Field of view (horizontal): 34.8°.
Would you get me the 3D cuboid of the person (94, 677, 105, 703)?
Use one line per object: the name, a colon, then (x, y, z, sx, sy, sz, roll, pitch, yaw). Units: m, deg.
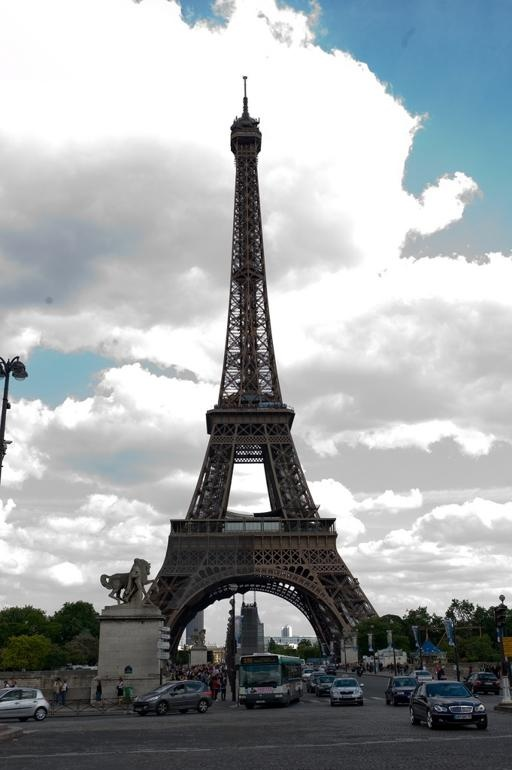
person: (-8.078, 15.484, 41.843, 0.362, 0.837, 1.383, 4, -16, -10)

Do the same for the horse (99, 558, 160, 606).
horse: (-7.073, 10.747, 44.838, 2.044, 2.362, 2.244, 8, -18, -22)

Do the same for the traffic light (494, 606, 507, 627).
traffic light: (9.550, 9.007, 32.063, 0.385, 0.811, 1.816, -3, -16, 14)
